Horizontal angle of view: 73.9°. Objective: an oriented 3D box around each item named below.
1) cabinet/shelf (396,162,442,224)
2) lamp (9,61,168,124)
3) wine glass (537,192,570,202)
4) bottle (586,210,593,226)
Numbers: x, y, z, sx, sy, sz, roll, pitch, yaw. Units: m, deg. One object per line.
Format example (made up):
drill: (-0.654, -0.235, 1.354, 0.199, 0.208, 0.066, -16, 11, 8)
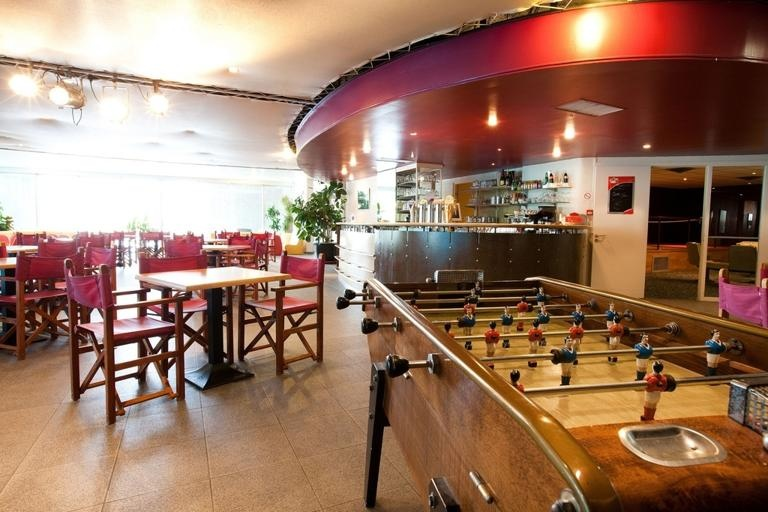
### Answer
cabinet/shelf: (0.702, -1.348, 10.788, 1.015, 1.146, 0.830, -1, 6, 22)
lamp: (-4.441, -2.271, 7.631, 1.816, 0.706, 2.754, -8, 7, -39)
wine glass: (3.209, -1.122, 9.702, 0.215, 0.239, 0.631, -7, 6, -29)
bottle: (3.713, -0.715, 9.259, 0.103, 0.276, 0.065, -2, 6, 17)
